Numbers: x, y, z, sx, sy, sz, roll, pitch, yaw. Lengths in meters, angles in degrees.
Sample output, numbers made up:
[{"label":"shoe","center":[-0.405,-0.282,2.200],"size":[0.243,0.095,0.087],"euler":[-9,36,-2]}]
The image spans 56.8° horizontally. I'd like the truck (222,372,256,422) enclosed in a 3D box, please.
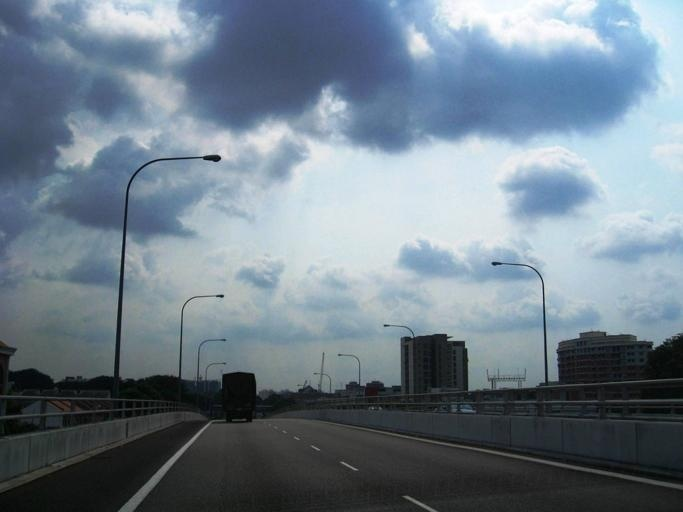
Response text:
[{"label":"truck","center":[-7.681,10.602,47.461],"size":[2.470,3.581,2.128],"euler":[2,-14,-11]}]
